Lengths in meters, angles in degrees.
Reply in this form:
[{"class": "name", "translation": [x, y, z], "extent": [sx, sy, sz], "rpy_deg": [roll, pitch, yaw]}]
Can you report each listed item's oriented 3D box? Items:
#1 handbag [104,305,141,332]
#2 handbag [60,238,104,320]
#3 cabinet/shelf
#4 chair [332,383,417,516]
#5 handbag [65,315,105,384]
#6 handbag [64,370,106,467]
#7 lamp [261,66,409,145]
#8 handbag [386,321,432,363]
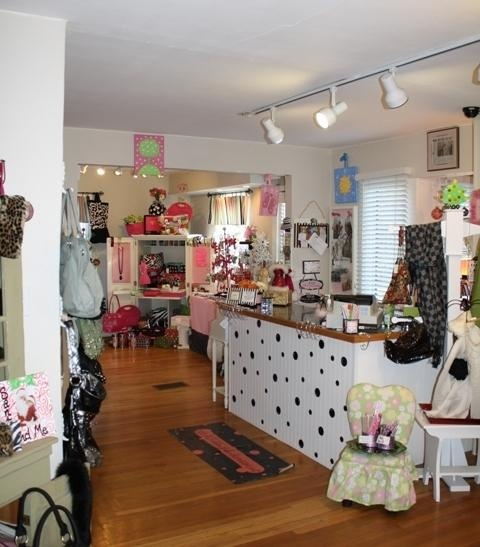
[{"class": "handbag", "translation": [-2.109, 0.796, 7.671], "extent": [0.517, 0.494, 0.374], "rpy_deg": [10, -5, -39]}, {"class": "handbag", "translation": [-0.914, 0.034, 2.527], "extent": [0.225, 0.366, 0.164], "rpy_deg": [-2, 1, -22]}, {"class": "cabinet/shelf", "translation": [-1.548, 0.158, 7.817], "extent": [1.697, 1.673, 0.565], "rpy_deg": [0, 2, 1]}, {"class": "chair", "translation": [0.785, 1.001, 2.604], "extent": [0.514, 0.602, 0.517], "rpy_deg": [0, 0, 11]}, {"class": "handbag", "translation": [-1.046, 0.522, 2.930], "extent": [0.265, 0.362, 0.482], "rpy_deg": [-2, 1, -19]}, {"class": "handbag", "translation": [-1.097, 1.020, 3.081], "extent": [0.273, 0.543, 0.374], "rpy_deg": [-2, 1, -23]}, {"class": "lamp", "translation": [0.784, -1.411, 3.694], "extent": [1.056, 0.228, 0.421], "rpy_deg": [-10, -36, 25]}, {"class": "handbag", "translation": [1.148, 0.466, 2.967], "extent": [0.358, 0.244, 0.227], "rpy_deg": [-2, 1, -42]}]
